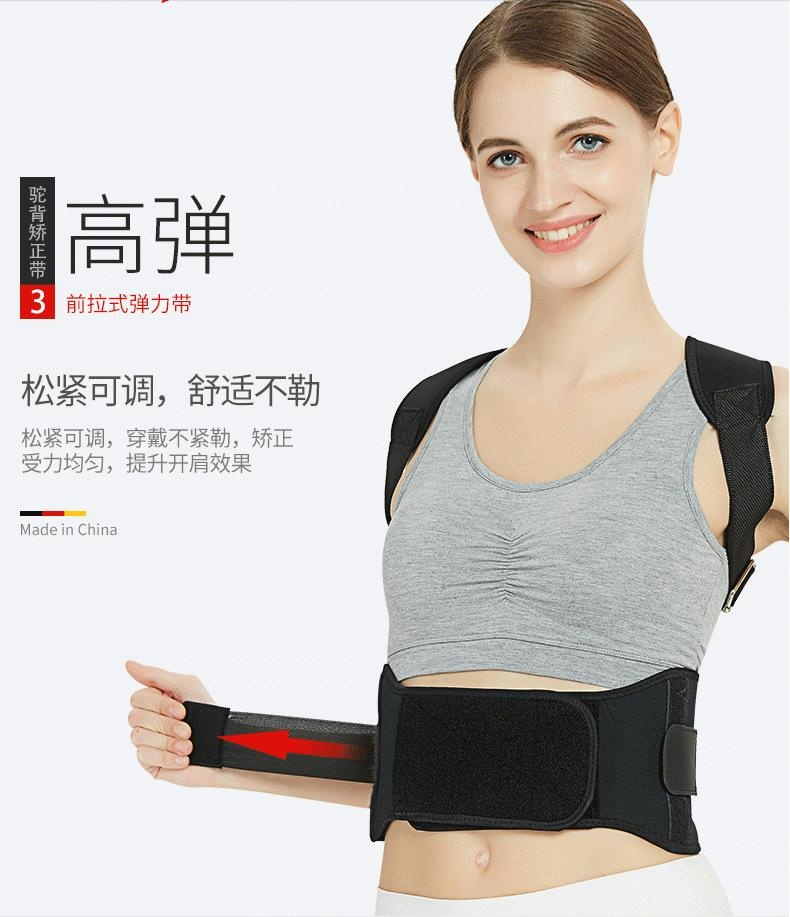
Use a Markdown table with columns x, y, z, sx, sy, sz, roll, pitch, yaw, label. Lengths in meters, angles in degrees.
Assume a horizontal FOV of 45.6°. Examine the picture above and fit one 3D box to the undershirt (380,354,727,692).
| x | y | z | sx | sy | sz | roll | pitch | yaw | label |
| --- | --- | --- | --- | --- | --- | --- | --- | --- | --- |
| 0.320 | 0.140 | 1.752 | 0.605 | 0.584 | 0.374 | -5 | -30 | 33 | undershirt |
